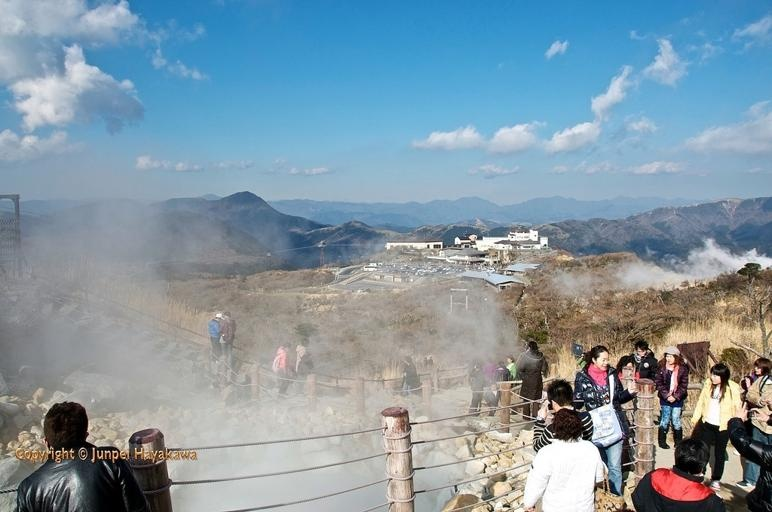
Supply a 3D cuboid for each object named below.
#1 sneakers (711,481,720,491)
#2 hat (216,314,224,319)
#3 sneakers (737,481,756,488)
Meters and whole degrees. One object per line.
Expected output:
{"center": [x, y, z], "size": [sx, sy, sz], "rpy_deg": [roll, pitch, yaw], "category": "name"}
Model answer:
{"center": [6.210, 4.299, 8.571], "size": [0.169, 0.055, 0.193], "rpy_deg": [1, -1, 35], "category": "sneakers"}
{"center": [-5.220, 1.871, 14.323], "size": [0.180, 0.120, 0.128], "rpy_deg": [20, 4, 0], "category": "hat"}
{"center": [6.828, 4.353, 8.678], "size": [0.220, 0.082, 0.086], "rpy_deg": [-5, -10, 44], "category": "sneakers"}
